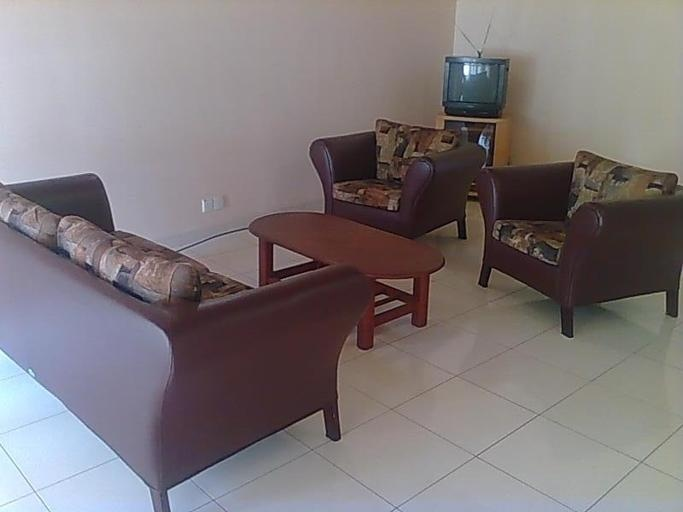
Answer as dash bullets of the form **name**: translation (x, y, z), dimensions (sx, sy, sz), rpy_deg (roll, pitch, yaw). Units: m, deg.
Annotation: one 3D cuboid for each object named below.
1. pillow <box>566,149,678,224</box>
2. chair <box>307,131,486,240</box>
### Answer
- **pillow**: translation (1.793, -0.571, 3.298), dimensions (0.569, 0.165, 0.592), rpy_deg (-25, 21, -7)
- **chair**: translation (0.405, -0.637, 4.530), dimensions (1.117, 0.737, 1.132), rpy_deg (20, 29, 41)
